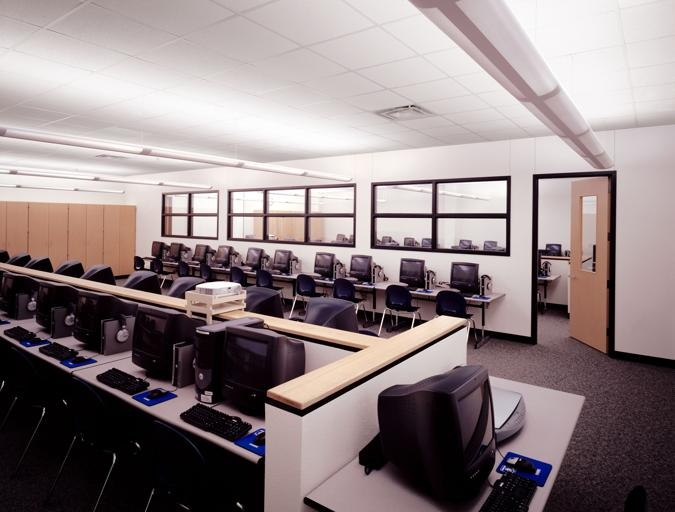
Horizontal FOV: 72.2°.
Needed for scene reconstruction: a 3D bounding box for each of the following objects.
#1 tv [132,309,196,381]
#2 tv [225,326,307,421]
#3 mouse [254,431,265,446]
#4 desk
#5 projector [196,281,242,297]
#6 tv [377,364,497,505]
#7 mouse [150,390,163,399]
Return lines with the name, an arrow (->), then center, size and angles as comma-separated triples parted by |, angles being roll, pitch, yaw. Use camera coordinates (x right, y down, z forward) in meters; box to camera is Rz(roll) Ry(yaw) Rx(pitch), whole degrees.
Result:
tv -> -1.451, 0.708, 3.835 | 0.405, 0.555, 0.324 | 8, -3, 24
tv -> -0.605, 0.799, 3.236 | 0.499, 0.584, 0.144 | 0, 3, 25
mouse -> -0.488, 1.147, 2.912 | 0.043, 0.025, 0.072 | 3, 21, 19
desk -> 0.562, 1.073, 2.695 | 0.737, 0.269, 1.163 | 4, 9, 29
projector -> -0.994, 0.277, 3.929 | 0.380, 0.101, 0.288 | -2, 3, -16
tv -> 0.576, 0.959, 2.854 | 0.658, 0.654, 0.678 | 1, 4, 31
mouse -> -1.327, 1.015, 3.419 | 0.092, 0.037, 0.104 | -2, 3, -25
